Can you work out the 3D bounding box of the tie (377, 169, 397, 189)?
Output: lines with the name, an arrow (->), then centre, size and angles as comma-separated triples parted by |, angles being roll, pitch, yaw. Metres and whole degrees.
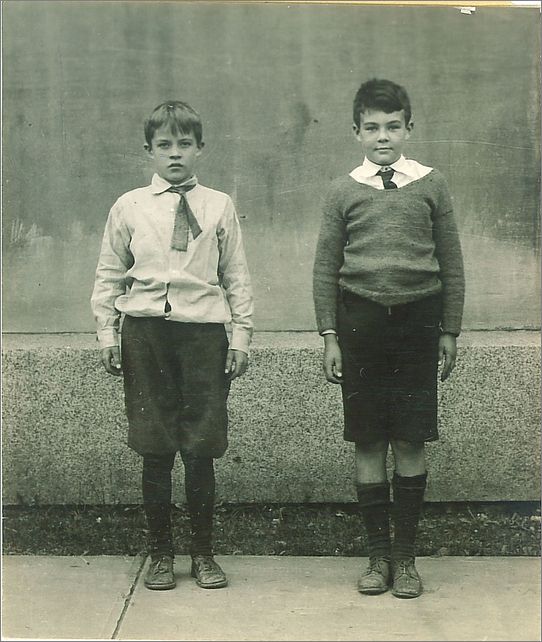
tie -> 0.396, -0.484, 3.590 | 0.067, 0.067, 0.045 | -8, -20, 2
